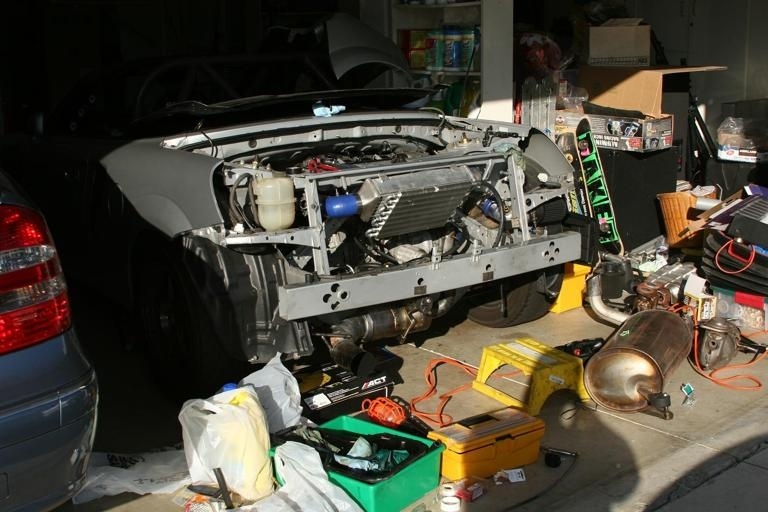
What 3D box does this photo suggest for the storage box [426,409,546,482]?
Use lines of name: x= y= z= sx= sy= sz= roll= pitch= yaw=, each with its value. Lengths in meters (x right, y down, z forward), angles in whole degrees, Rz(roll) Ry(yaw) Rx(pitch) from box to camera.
storage box: x=0.602 y=1.114 z=3.459 sx=0.591 sy=0.241 sz=0.359 roll=-8 pitch=14 yaw=-30

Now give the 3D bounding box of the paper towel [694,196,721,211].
paper towel: x=3.559 y=-0.567 z=6.274 sx=0.306 sy=0.178 sz=0.186 roll=2 pitch=7 yaw=6

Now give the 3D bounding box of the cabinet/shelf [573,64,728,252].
cabinet/shelf: x=3.271 y=-1.541 z=7.480 sx=0.980 sy=1.269 sz=1.818 roll=-23 pitch=31 yaw=-37

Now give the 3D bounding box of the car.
car: x=-1.104 y=-0.306 z=4.563 sx=2.584 sy=1.140 sz=3.523 roll=-16 pitch=23 yaw=-37

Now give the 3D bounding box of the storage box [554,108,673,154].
storage box: x=2.621 y=-1.420 z=6.717 sx=0.783 sy=0.333 sz=1.035 roll=-14 pitch=22 yaw=-42

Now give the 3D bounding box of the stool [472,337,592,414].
stool: x=1.090 y=0.869 z=4.208 sx=0.826 sy=0.304 sz=0.816 roll=0 pitch=11 yaw=7

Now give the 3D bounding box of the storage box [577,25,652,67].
storage box: x=2.969 y=-2.646 z=7.356 sx=0.833 sy=0.489 sz=0.456 roll=-2 pitch=8 yaw=-3
